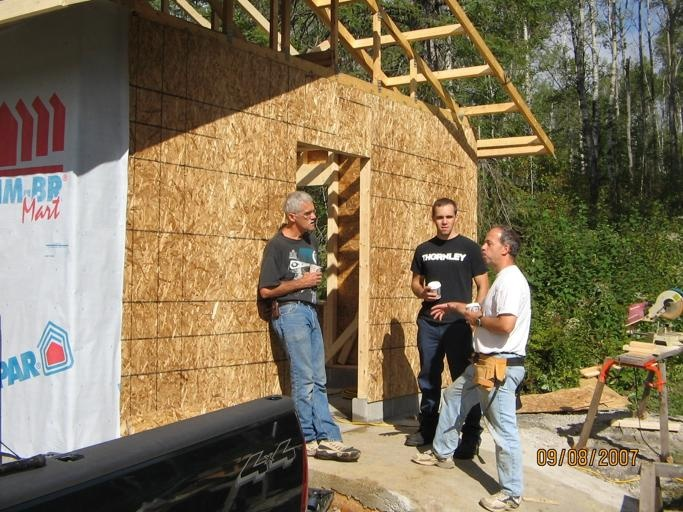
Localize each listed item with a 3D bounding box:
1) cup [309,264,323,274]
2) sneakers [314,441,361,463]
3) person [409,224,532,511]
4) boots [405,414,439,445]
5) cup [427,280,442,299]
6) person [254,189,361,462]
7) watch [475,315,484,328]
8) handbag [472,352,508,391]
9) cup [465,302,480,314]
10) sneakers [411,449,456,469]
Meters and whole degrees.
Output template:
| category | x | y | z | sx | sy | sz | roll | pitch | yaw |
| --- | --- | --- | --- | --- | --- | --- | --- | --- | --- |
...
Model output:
| category | x | y | z | sx | sy | sz | roll | pitch | yaw |
| --- | --- | --- | --- | --- | --- | --- | --- | --- | --- |
| cup | -0.243 | 0.129 | 5.866 | 0.071 | 0.083 | 0.069 | 1 | -5 | 0 |
| sneakers | -0.037 | 1.724 | 5.650 | 0.410 | 0.246 | 0.164 | 2 | -2 | 9 |
| person | 1.164 | 0.866 | 5.215 | 0.463 | 2.206 | 0.901 | 0 | 1 | -22 |
| boots | 0.799 | 1.755 | 6.300 | 0.413 | 0.331 | 0.168 | 8 | -9 | -37 |
| cup | 0.873 | 0.320 | 5.929 | 0.125 | 0.118 | 0.139 | -2 | -1 | 2 |
| person | -0.351 | 0.794 | 5.784 | 0.862 | 2.053 | 0.506 | 0 | 1 | -2 |
| watch | 1.078 | 0.540 | 5.012 | 0.063 | 0.081 | 0.046 | 1 | 0 | -33 |
| handbag | 1.137 | 0.904 | 4.945 | 0.231 | 0.213 | 0.204 | 8 | -9 | -10 |
| cup | 1.062 | 0.426 | 5.128 | 0.073 | 0.072 | 0.081 | -4 | 2 | -4 |
| sneakers | 0.796 | 1.814 | 5.581 | 0.342 | 0.200 | 0.154 | 7 | -5 | 14 |
